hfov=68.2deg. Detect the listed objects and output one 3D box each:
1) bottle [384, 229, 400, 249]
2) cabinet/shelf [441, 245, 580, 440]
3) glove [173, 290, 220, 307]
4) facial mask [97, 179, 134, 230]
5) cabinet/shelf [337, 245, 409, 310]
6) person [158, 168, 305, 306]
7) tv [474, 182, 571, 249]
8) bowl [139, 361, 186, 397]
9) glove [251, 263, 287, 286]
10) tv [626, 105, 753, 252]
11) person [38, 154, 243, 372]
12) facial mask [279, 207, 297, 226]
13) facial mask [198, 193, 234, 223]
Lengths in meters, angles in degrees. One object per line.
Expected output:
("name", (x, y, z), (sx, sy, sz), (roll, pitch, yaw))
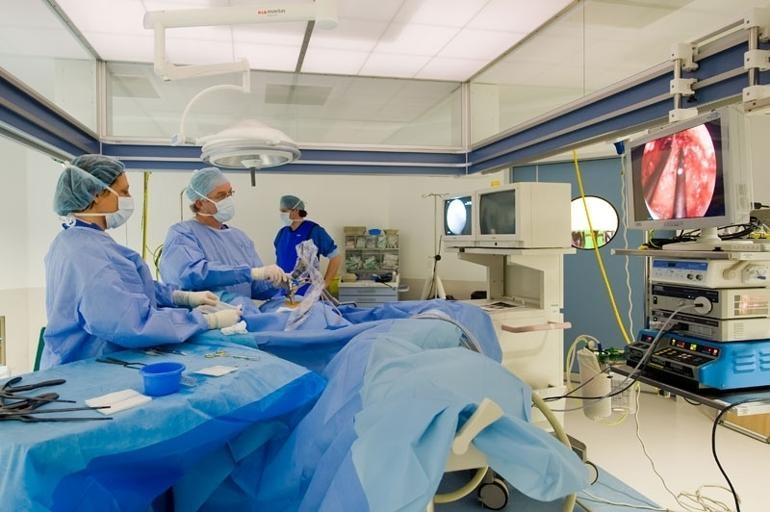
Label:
("bottle", (0.075, -0.190, 6.313), (0.202, 0.251, 0.186), (-1, -3, 0))
("cabinet/shelf", (0.820, 0.349, 3.610), (0.589, 0.896, 0.698), (-1, 12, 0))
("glove", (-0.920, 0.202, 2.782), (0.264, 0.080, 0.078), (4, -3, 11))
("facial mask", (-1.263, -0.224, 2.720), (0.181, 0.132, 0.155), (3, 4, -19))
("cabinet/shelf", (-0.160, 0.314, 6.055), (0.593, 0.745, 0.418), (1, 5, 2))
("person", (-0.923, -0.058, 3.437), (0.840, 0.929, 0.691), (-6, -6, 16))
("tv", (0.829, -0.237, 3.453), (0.419, 0.375, 0.577), (1, -3, -22))
("bowl", (-0.842, 0.476, 2.152), (0.168, 0.087, 0.165), (-2, -5, 0))
("glove", (-0.635, 0.102, 3.137), (0.158, 0.071, 0.114), (-4, -9, 11))
("tv", (1.347, -0.355, 2.501), (0.290, 0.625, 0.725), (0, -2, -12))
("person", (-1.153, -0.024, 2.877), (1.037, 1.097, 0.832), (-4, 8, -31))
("facial mask", (-0.744, -0.292, 4.295), (0.118, 0.076, 0.105), (-14, 19, -28))
("facial mask", (-0.937, -0.271, 3.175), (0.161, 0.129, 0.135), (-13, 13, -12))
